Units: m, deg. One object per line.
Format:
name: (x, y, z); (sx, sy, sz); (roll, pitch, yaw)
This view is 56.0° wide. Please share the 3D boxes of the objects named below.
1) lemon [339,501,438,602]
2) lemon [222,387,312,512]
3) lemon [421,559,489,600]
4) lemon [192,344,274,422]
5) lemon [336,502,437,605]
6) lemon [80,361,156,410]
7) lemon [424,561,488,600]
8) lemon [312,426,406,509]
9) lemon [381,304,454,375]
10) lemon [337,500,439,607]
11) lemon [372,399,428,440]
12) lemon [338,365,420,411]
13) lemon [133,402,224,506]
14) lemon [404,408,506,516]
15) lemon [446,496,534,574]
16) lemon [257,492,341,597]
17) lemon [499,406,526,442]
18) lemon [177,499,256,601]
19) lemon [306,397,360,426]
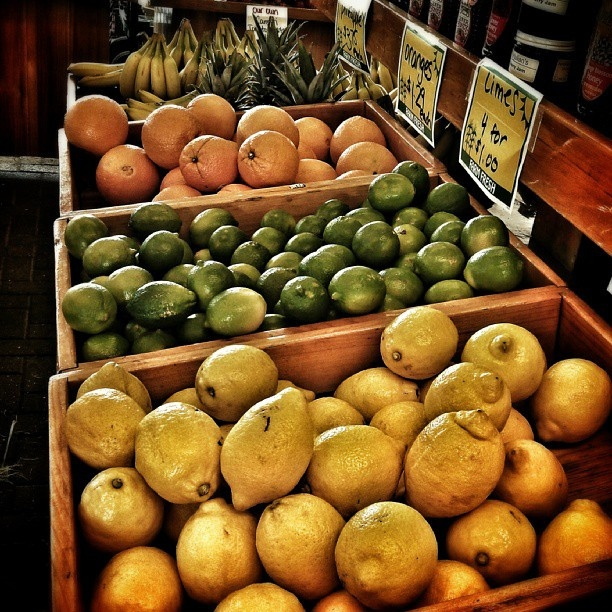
lemon: (0.145, 0.429, 1.060); (0.172, 0.149, 0.132); (-28, 22, -37)
lemon: (-0.080, 0.302, 1.195); (0.194, 0.193, 0.173); (-7, 36, -15)
lemon: (0.279, 0.507, 1.066); (0.097, 0.066, 0.083); (-7, 3, 4)
lemon: (-0.174, 0.182, 1.450); (0.181, 0.158, 0.148); (-12, -17, -35)
lemon: (0.147, 0.430, 1.065); (0.178, 0.154, 0.137); (-28, 20, -37)
lemon: (-0.445, 0.175, 1.403); (0.114, 0.169, 0.129); (2, 9, 18)
lemon: (0.277, 0.508, 1.066); (0.095, 0.064, 0.081); (-7, 4, 13)
lemon: (0.109, 0.320, 1.188); (0.161, 0.150, 0.135); (-5, -7, -2)
lemon: (0.302, 0.093, 1.535); (0.174, 0.155, 0.139); (-15, 0, -33)
lemon: (0.141, 0.406, 1.059); (0.178, 0.154, 0.137); (-29, 20, -37)
lemon: (0.228, 0.275, 1.376); (0.093, 0.076, 0.081); (-17, 67, -10)
lemon: (0.184, 0.204, 1.517); (0.161, 0.117, 0.108); (-5, 6, 28)
lemon: (-0.261, 0.312, 1.255); (0.146, 0.162, 0.205); (-21, 61, -10)
lemon: (0.289, 0.306, 1.202); (0.164, 0.227, 0.176); (46, 12, 12)
lemon: (0.380, 0.446, 1.206); (0.128, 0.147, 0.162); (-2, -13, -4)
lemon: (-0.013, 0.438, 1.159); (0.151, 0.219, 0.165); (-8, 1, 2)
lemon: (0.508, 0.292, 1.448); (0.068, 0.081, 0.089); (-14, -5, 12)
lemon: (-0.149, 0.482, 1.148); (0.144, 0.159, 0.212); (-2, 64, -5)
lemon: (0.075, 0.246, 1.440); (0.092, 0.065, 0.063); (15, 2, -17)
